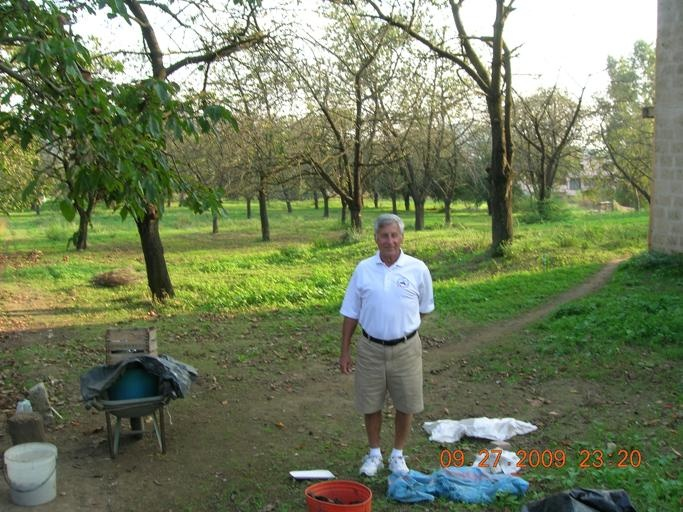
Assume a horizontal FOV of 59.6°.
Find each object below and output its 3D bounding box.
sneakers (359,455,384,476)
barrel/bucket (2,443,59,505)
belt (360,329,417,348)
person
[{"bbox_3d":[0.354,2.594,7.288,0.140,0.176,0.372,3,6,17],"label":"sneakers"},{"bbox_3d":[-3.701,2.569,7.117,0.619,0.677,0.610,-1,-2,0],"label":"barrel/bucket"},{"bbox_3d":[0.583,0.981,7.141,0.657,0.169,0.177,-3,12,-1],"label":"belt"},{"bbox_3d":[0.541,1.058,7.206,1.075,3.077,0.735,0,12,10],"label":"person"}]
